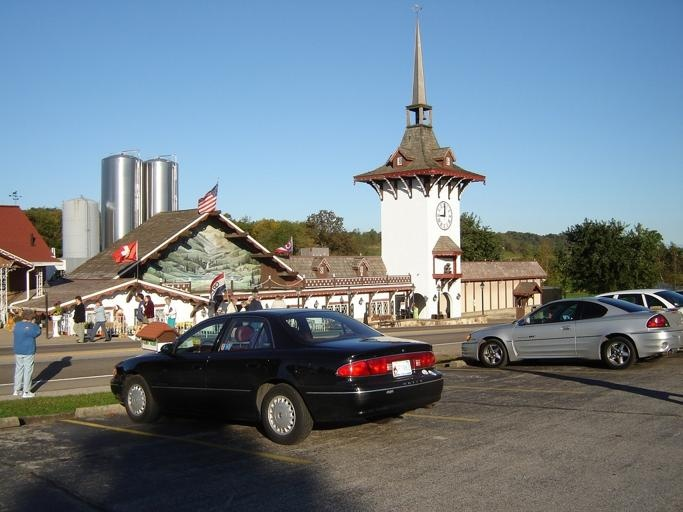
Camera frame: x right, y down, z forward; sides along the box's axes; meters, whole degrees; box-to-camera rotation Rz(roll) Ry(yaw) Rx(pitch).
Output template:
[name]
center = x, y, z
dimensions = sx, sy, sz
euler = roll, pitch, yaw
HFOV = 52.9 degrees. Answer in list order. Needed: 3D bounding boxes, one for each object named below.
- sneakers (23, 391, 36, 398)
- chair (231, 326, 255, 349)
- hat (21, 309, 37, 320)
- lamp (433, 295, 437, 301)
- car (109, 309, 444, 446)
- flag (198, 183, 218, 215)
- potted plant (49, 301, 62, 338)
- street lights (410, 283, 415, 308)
[sneakers]
center = -6.838, 3.082, 15.157
dimensions = 0.340, 0.139, 0.132
euler = 0, 1, -3
[chair]
center = -1.602, 1.382, 11.369
dimensions = 0.324, 0.441, 0.245
euler = -3, -15, 23
[hat]
center = -6.818, 1.306, 15.141
dimensions = 0.215, 0.241, 0.268
euler = -13, 32, -34
[lamp]
center = 8.721, 4.033, 63.899
dimensions = 0.596, 0.613, 0.181
euler = -2, -1, -44
[car]
center = -1.363, 1.873, 11.456
dimensions = 4.653, 1.423, 2.152
euler = 0, -2, 34
[flag]
center = -8.620, -3.638, 44.717
dimensions = 1.186, 1.703, 4.165
euler = -2, -1, -12
[potted plant]
center = -13.744, 3.174, 33.430
dimensions = 0.498, 1.413, 1.201
euler = -2, -1, -22
[street lights]
center = 6.634, 3.730, 64.462
dimensions = 0.437, 2.135, 0.857
euler = -3, -1, 19
